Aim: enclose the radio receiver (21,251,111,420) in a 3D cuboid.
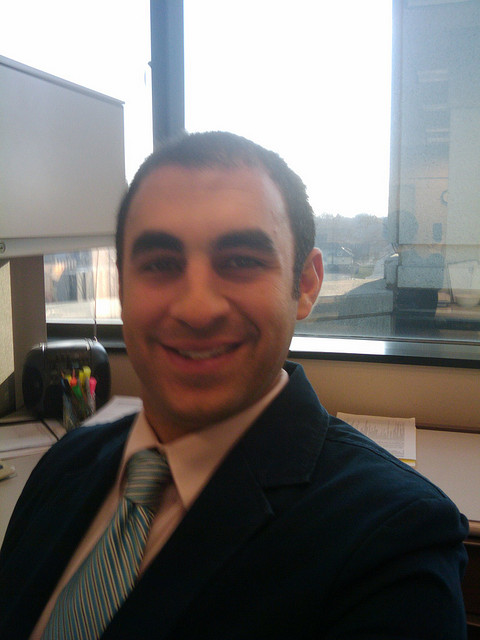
[{"bbox_3d":[-0.543,0.040,1.491,0.257,0.499,0.185,-3,7,-24],"label":"radio receiver"}]
